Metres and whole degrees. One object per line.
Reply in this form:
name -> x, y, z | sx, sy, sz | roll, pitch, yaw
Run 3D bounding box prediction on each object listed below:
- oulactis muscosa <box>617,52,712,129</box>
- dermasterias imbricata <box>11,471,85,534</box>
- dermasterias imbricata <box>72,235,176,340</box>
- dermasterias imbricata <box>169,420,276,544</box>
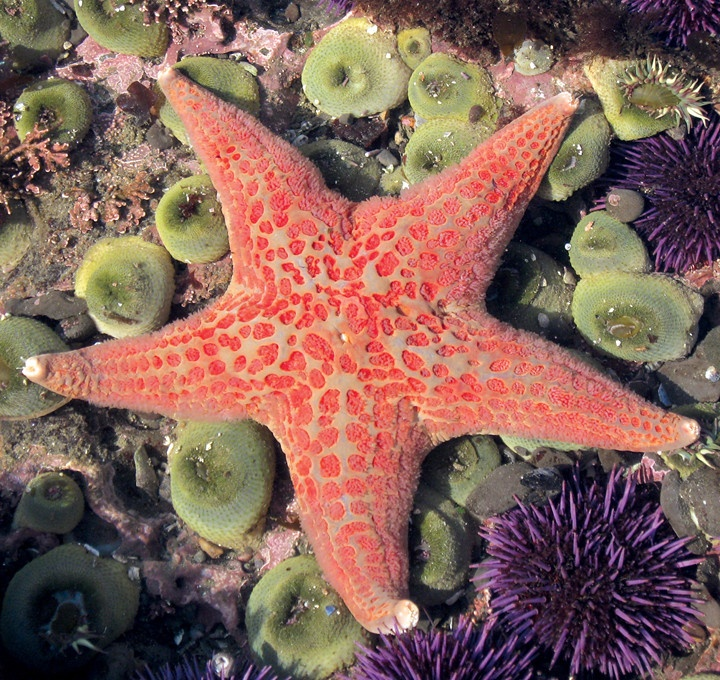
oulactis muscosa -> 2.039, -1.705, 6.114 | 0.531, 0.205, 0.472 | 1, 86, -7
dermasterias imbricata -> -2.143, 1.122, 6.247 | 0.457, 0.409, 0.389 | -20, 31, -25
dermasterias imbricata -> -1.599, -0.384, 6.299 | 0.646, 0.180, 0.697 | -11, 93, -5
dermasterias imbricata -> -0.928, 0.934, 6.324 | 0.613, 0.896, 0.698 | -4, 26, 8
